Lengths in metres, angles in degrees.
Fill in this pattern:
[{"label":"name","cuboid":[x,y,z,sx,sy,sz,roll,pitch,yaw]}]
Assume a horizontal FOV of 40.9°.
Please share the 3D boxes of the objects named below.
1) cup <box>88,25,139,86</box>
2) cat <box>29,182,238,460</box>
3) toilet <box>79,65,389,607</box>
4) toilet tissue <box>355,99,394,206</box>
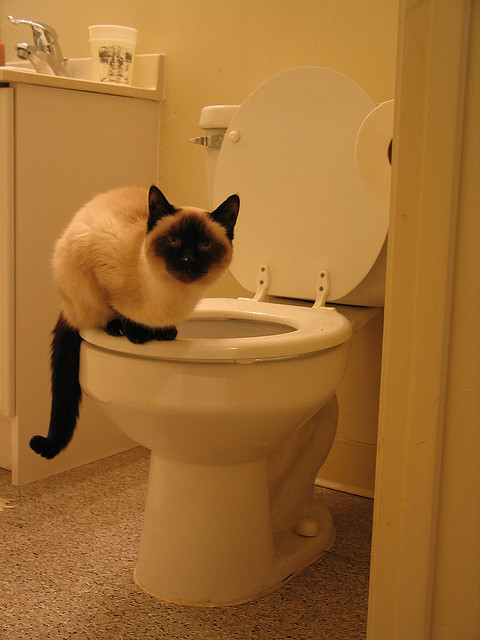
[{"label":"cup","cuboid":[-0.288,-0.601,1.516,0.141,0.137,0.134,5,13,-1]},{"label":"cat","cuboid":[-0.130,-0.083,0.891,0.225,0.200,0.170,9,11,35]},{"label":"toilet","cuboid":[0.022,-0.011,1.037,0.387,0.823,0.558,5,10,15]},{"label":"toilet tissue","cuboid":[0.214,-0.259,0.993,0.033,0.153,0.068,-6,12,-42]}]
